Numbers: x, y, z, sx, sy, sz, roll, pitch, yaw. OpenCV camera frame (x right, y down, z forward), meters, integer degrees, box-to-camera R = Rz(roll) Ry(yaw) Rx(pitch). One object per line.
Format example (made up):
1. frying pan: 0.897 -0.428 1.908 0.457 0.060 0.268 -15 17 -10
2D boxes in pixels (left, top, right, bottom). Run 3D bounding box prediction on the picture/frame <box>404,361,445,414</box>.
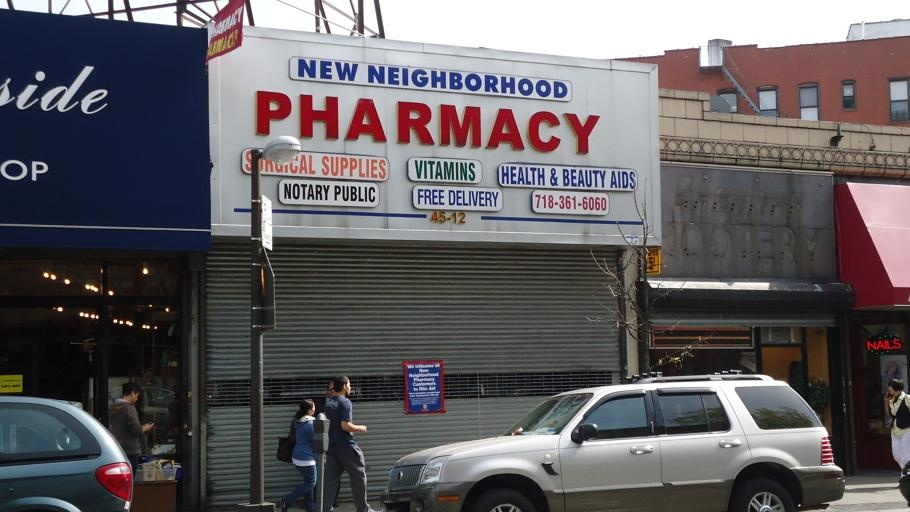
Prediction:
1. picture/frame: -0.792 3.145 23.435 1.281 1.410 0.141 0 -8 -10
